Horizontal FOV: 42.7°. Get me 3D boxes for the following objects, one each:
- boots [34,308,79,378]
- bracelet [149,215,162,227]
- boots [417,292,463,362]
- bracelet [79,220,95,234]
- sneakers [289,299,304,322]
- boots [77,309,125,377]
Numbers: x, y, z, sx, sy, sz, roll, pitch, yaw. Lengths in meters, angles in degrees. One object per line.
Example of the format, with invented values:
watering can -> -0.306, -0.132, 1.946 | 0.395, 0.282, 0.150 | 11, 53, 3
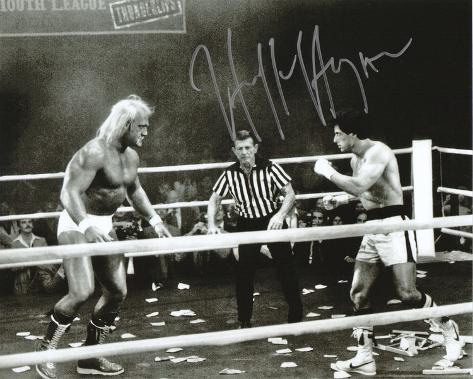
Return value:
boots -> -1.259, 1.039, 4.187 | 0.287, 0.449, 0.216 | -11, 9, -31
bracelet -> -0.595, 0.230, 4.417 | 0.090, 0.070, 0.084 | -22, 4, 26
boots -> 1.412, 0.980, 4.213 | 0.236, 0.511, 0.160 | 5, -20, -42
bracelet -> -0.996, 0.234, 4.006 | 0.087, 0.067, 0.091 | -23, 12, 31
sneakers -> 0.483, 0.977, 4.934 | 0.128, 0.182, 0.235 | -5, 9, 5
boots -> -0.976, 1.077, 4.238 | 0.317, 0.362, 0.415 | -9, 9, -15
